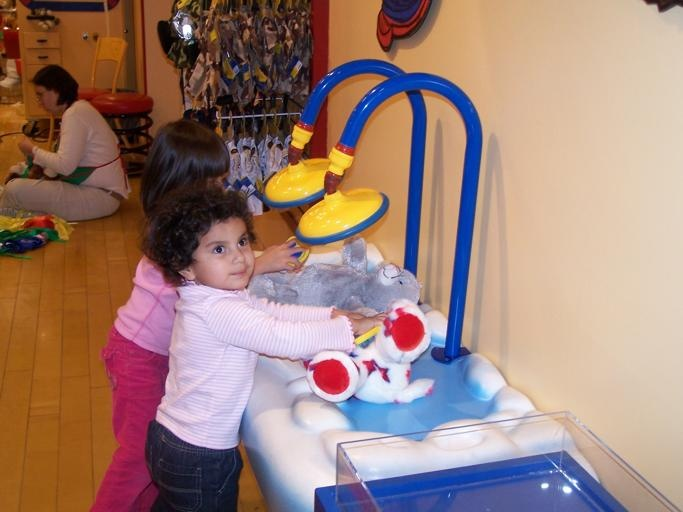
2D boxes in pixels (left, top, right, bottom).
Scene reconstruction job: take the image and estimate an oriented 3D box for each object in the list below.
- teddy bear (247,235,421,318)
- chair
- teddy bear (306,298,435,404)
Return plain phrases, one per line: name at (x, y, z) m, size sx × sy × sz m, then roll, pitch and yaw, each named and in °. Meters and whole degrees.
teddy bear at (-0.012, 0.104, 1.486) m, size 0.477 × 0.232 × 0.370 m, roll 7°, pitch -10°, yaw -25°
chair at (-2.298, -1.442, 4.916) m, size 0.599 × 1.177 × 0.628 m, roll 5°, pitch 17°, yaw -18°
teddy bear at (0.067, 0.228, 1.159) m, size 0.225 × 0.181 × 0.228 m, roll -21°, pitch 32°, yaw -31°
